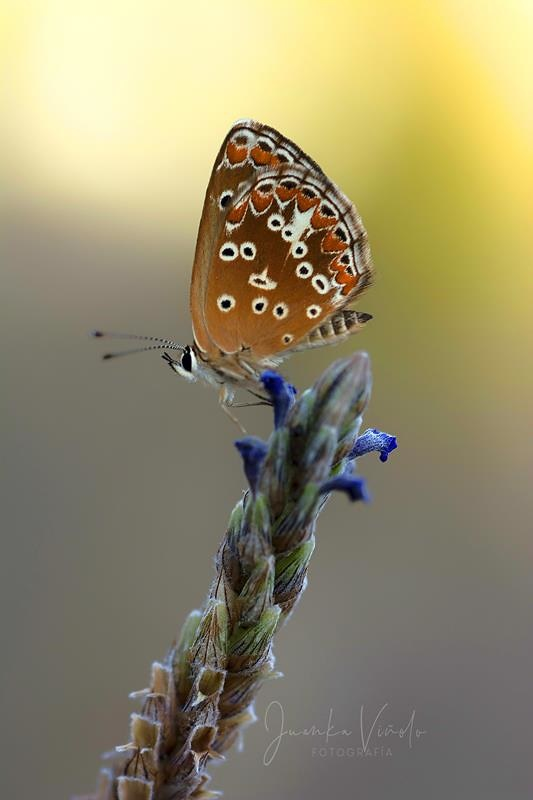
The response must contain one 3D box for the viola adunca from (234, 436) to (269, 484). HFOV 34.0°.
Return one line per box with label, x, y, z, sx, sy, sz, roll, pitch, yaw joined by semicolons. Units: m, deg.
viola adunca;-0.022;0.093;1.466;0.053;0.034;0.082;-3;11;-7
